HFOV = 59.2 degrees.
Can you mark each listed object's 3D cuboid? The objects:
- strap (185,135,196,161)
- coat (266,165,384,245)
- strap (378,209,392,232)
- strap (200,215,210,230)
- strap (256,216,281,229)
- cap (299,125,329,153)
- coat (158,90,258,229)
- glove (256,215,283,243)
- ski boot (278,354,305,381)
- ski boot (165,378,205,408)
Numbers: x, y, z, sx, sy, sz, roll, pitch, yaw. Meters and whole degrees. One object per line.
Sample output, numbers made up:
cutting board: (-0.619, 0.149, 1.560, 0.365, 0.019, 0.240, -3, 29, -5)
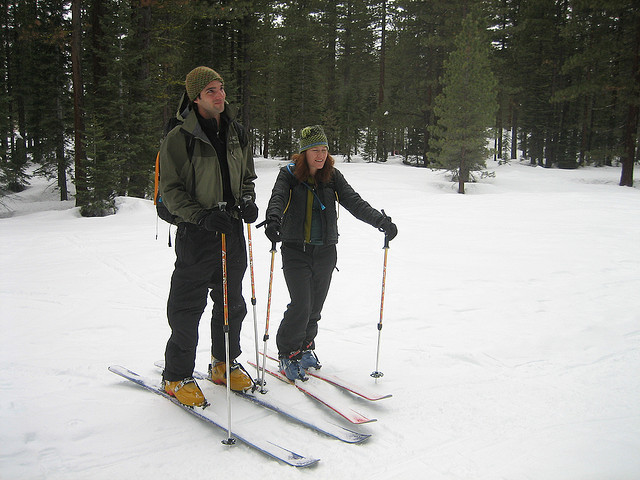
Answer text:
strap: (-1.615, -1.167, 7.053, 0.130, 0.287, 0.031, -1, 9, -11)
coat: (-0.045, -0.563, 7.892, 1.791, 1.204, 1.075, -2, 3, -15)
strap: (0.880, -0.293, 7.949, 0.117, 0.350, 0.116, 16, -25, 34)
strap: (-1.441, -0.220, 7.013, 0.024, 0.098, 0.095, 12, 39, 18)
strap: (-0.687, -0.234, 7.496, 0.245, 0.057, 0.154, -25, -36, 8)
cap: (-0.101, -1.417, 7.938, 0.378, 0.349, 0.338, -3, 8, 20)
coat: (-1.429, -1.030, 7.225, 1.202, 1.749, 0.518, -6, 11, -36)
glove: (-0.654, -0.145, 7.476, 0.286, 0.358, 0.221, -1, 9, -8)
ski boot: (-0.396, 1.787, 7.838, 0.467, 0.202, 0.217, 3, 6, 45)
ski boot: (-1.705, 1.945, 7.210, 0.573, 0.245, 0.255, 12, 7, 32)
